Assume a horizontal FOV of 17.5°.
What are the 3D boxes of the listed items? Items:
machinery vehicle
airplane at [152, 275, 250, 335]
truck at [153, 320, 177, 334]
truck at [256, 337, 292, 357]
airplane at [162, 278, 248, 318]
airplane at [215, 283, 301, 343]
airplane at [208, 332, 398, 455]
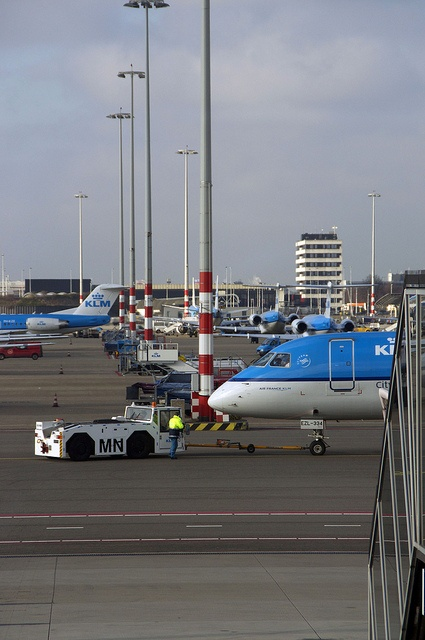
[{"bbox_3d":[-2.638,2.859,34.509,3.390,1.419,2.114,1,-6,-32],"label":"machinery vehicle"},{"bbox_3d":[-1.724,-1.031,130.698,6.242,4.693,7.493,0,2,5],"label":"airplane"},{"bbox_3d":[-4.674,0.726,134.136,0.366,1.190,1.685,11,-3,-41],"label":"truck"},{"bbox_3d":[3.415,1.471,77.178,1.600,0.912,1.097,-1,2,-35],"label":"truck"},{"bbox_3d":[-0.483,-2.716,207.515,11.789,6.730,13.006,5,12,38],"label":"airplane"},{"bbox_3d":[4.110,-0.950,140.960,6.847,4.266,7.613,-2,3,-17],"label":"airplane"},{"bbox_3d":[2.359,2.024,35.288,4.539,2.171,3.702,-14,12,-30],"label":"airplane"}]
